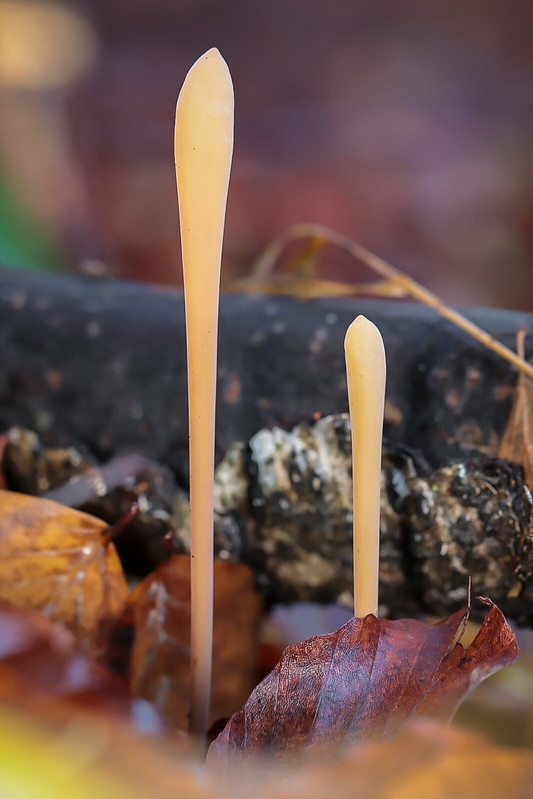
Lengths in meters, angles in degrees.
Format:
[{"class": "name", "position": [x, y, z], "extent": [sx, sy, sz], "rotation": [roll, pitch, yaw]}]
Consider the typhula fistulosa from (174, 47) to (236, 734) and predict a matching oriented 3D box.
[{"class": "typhula fistulosa", "position": [-0.030, 0.009, 0.402], "extent": [0.026, 0.344, 0.035], "rotation": [-1, 16, -8]}]

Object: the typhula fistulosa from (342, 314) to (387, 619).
[{"class": "typhula fistulosa", "position": [0.046, 0.035, 0.391], "extent": [0.021, 0.148, 0.029], "rotation": [3, 16, 5]}]
